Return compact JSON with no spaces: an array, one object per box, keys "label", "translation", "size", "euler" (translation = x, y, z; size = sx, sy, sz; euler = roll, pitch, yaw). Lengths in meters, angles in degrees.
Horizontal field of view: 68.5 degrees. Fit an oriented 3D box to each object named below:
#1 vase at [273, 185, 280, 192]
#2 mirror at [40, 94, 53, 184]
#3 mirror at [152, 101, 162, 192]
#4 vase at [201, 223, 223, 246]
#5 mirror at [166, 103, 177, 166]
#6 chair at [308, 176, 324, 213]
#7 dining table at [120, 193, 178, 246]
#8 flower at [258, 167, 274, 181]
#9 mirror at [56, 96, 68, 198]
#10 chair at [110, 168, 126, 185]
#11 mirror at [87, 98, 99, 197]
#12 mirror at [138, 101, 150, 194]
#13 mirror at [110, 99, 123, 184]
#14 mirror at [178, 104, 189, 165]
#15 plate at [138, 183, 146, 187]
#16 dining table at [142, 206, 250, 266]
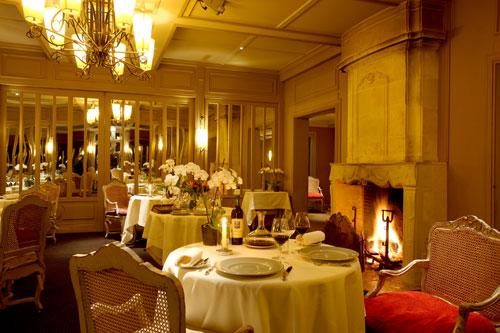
[{"label":"vase","translation":[0.583,0.469,8.018],"size":[0.140,0.149,0.107],"euler":[2,10,8]},{"label":"mirror","translation":[-4.575,-0.576,8.162],"size":[0.276,1.306,1.475],"euler":[3,-2,-29]},{"label":"mirror","translation":[-2.286,-0.606,8.915],"size":[0.256,1.746,1.207],"euler":[2,-2,-15]},{"label":"vase","translation":[-0.359,0.637,3.473],"size":[0.202,0.154,0.186],"euler":[-1,-4,14]},{"label":"mirror","translation":[-2.146,-0.932,9.896],"size":[0.225,1.536,2.324],"euler":[2,-2,-13]},{"label":"chair","translation":[1.900,0.788,10.530],"size":[0.436,0.946,1.298],"euler":[1,-2,11]},{"label":"dining table","translation":[-1.679,0.837,6.516],"size":[1.040,1.143,1.156],"euler":[4,-4,-25]},{"label":"flower","translation":[0.374,0.178,8.307],"size":[0.294,0.321,0.306],"euler":[0,-1,-3]},{"label":"mirror","translation":[-4.142,-0.475,7.979],"size":[0.269,1.465,1.099],"euler":[3,-2,-28]},{"label":"chair","translation":[-3.053,0.218,8.360],"size":[0.293,0.502,0.356],"euler":[3,6,10]},{"label":"mirror","translation":[-3.630,-0.474,8.336],"size":[0.285,2.186,1.511],"euler":[3,-2,-23]},{"label":"mirror","translation":[-2.496,-0.439,8.540],"size":[0.290,1.999,1.796],"euler":[2,-2,-17]},{"label":"mirror","translation":[-2.935,-0.569,8.032],"size":[0.306,1.751,1.003],"euler":[2,-2,-20]},{"label":"mirror","translation":[-1.615,-0.783,8.755],"size":[0.239,1.409,1.155],"euler":[2,-2,-11]},{"label":"plate","translation":[-2.510,0.417,8.439],"size":[0.148,0.072,0.773],"euler":[3,-2,-18]},{"label":"dining table","translation":[-0.611,0.736,3.931],"size":[0.826,0.461,0.905],"euler":[2,-5,-15]}]
